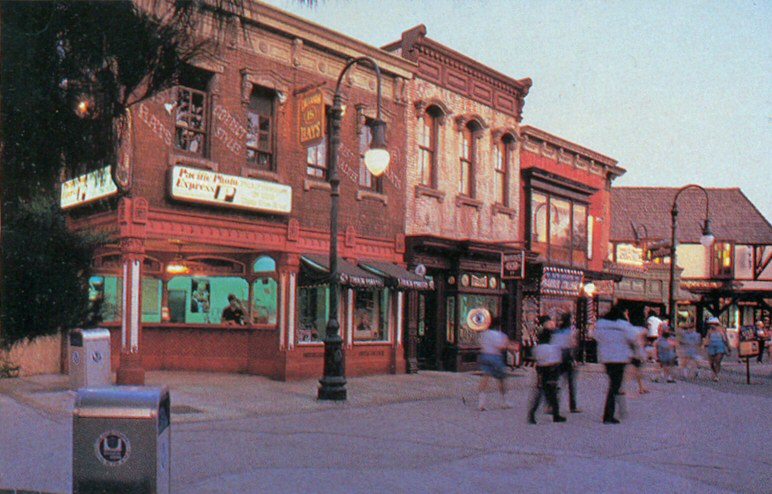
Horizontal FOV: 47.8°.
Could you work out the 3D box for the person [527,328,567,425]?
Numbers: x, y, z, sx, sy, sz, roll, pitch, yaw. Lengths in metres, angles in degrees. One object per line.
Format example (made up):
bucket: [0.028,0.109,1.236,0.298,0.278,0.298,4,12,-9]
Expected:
person: [3.911,3.092,21.265,0.876,2.356,1.543,0,-8,11]

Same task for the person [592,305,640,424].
person: [5.617,2.837,21.304,1.000,2.879,1.397,-1,-8,16]

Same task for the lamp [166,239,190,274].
lamp: [-6.423,0.374,27.014,0.718,0.917,0.725,4,-8,-15]
